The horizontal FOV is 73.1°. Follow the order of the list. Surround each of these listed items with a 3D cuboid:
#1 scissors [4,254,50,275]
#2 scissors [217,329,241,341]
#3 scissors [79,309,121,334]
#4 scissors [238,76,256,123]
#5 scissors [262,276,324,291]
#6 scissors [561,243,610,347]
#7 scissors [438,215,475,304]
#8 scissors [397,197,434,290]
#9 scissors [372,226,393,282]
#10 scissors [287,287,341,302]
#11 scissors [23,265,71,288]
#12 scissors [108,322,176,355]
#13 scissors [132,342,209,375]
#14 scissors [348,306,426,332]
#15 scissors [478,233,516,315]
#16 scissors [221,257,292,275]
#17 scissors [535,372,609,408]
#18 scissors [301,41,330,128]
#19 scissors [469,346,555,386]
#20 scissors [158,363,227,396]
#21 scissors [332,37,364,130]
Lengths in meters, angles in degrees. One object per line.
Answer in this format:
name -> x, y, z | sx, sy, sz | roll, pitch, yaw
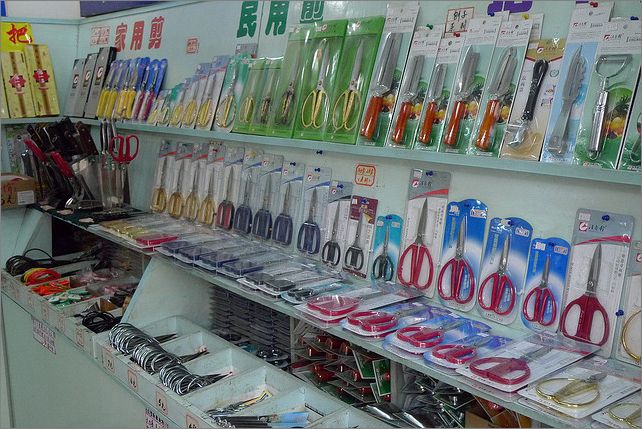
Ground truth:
scissors -> -2.016, 0.347, 2.979 | 0.246, 0.055, 0.172 | -5, 9, -33
scissors -> -0.500, 0.659, 2.341 | 0.071, 0.016, 0.071 | 15, 18, 33
scissors -> -1.206, 0.585, 2.344 | 0.160, 0.032, 0.127 | -4, 24, -21
scissors -> -0.385, -0.633, 2.436 | 0.101, 0.257, 0.028 | 15, 0, 40
scissors -> -0.137, 0.300, 1.868 | 0.143, 0.018, 0.072 | -3, 7, -38
scissors -> 0.955, 0.292, 1.551 | 0.127, 0.347, 0.111 | -1, 12, -5
scissors -> 0.563, 0.192, 1.793 | 0.118, 0.346, 0.111 | -3, 12, -14
scissors -> 0.413, 0.141, 1.883 | 0.144, 0.383, 0.123 | 0, 12, -3
scissors -> 0.283, 0.187, 1.980 | 0.088, 0.240, 0.079 | -1, 12, -8
scissors -> -0.044, 0.333, 1.821 | 0.072, 0.020, 0.150 | 11, 14, 40
scissors -> -1.837, 0.412, 2.829 | 0.137, 0.057, 0.144 | 1, 26, -20
scissors -> -0.932, 0.644, 2.188 | 0.198, 0.147, 0.085 | 32, -10, 3
scissors -> -0.746, 0.658, 2.086 | 0.216, 0.090, 0.143 | -7, 10, -44
scissors -> 0.240, 0.397, 1.657 | 0.178, 0.014, 0.096 | -6, 9, -41
scissors -> 0.705, 0.252, 1.711 | 0.114, 0.314, 0.109 | -1, 12, -7
scissors -> -0.308, 0.246, 2.017 | 0.134, 0.026, 0.243 | 8, 15, 35
scissors -> 0.803, 0.549, 1.346 | 0.294, 0.030, 0.111 | -3, 13, -18
scissors -> 0.022, -0.633, 2.193 | 0.158, 0.420, 0.038 | 13, -4, 40
scissors -> 0.660, 0.498, 1.446 | 0.346, 0.029, 0.132 | -6, 14, -29
scissors -> -0.578, 0.735, 1.944 | 0.202, 0.052, 0.132 | -5, 18, -33
scissors -> 0.166, -0.614, 2.103 | 0.150, 0.437, 0.038 | 7, -14, 38
